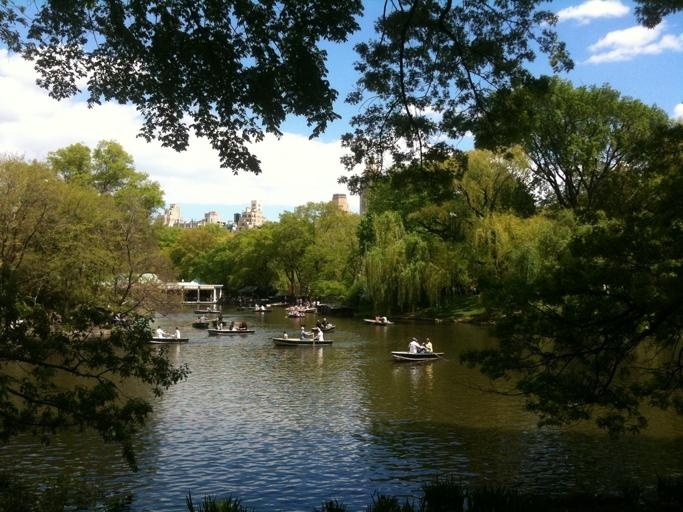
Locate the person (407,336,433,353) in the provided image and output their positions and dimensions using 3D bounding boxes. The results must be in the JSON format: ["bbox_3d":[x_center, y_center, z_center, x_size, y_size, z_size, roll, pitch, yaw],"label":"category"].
[{"bbox_3d":[4.334,4.813,43.387,1.391,0.722,0.987,15,-20,-39],"label":"person"}]

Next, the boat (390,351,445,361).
[{"bbox_3d":[4.080,5.339,42.502,2.939,0.528,0.880,3,-2,-10],"label":"boat"}]

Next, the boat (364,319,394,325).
[{"bbox_3d":[3.009,5.474,67.873,0.785,0.560,3.055,20,-15,-40],"label":"boat"}]
